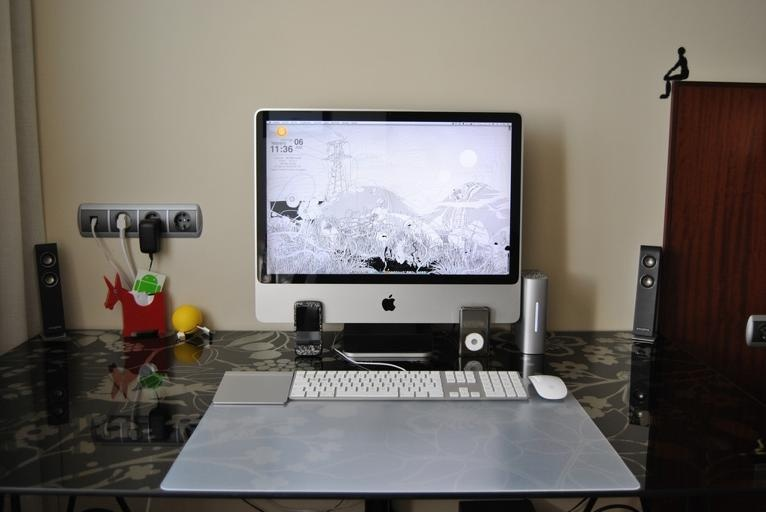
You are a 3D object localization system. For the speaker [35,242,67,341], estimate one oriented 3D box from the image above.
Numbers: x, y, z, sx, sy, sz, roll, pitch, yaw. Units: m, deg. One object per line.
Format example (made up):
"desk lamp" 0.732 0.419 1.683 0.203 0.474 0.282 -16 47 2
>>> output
"speaker" -1.179 0.121 2.163 0.080 0.330 0.099 -5 7 -29

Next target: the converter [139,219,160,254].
"converter" -0.834 -0.068 2.190 0.075 0.134 0.049 -3 6 -14

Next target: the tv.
"tv" 0.018 -0.092 1.996 0.877 0.730 0.231 0 2 -1
